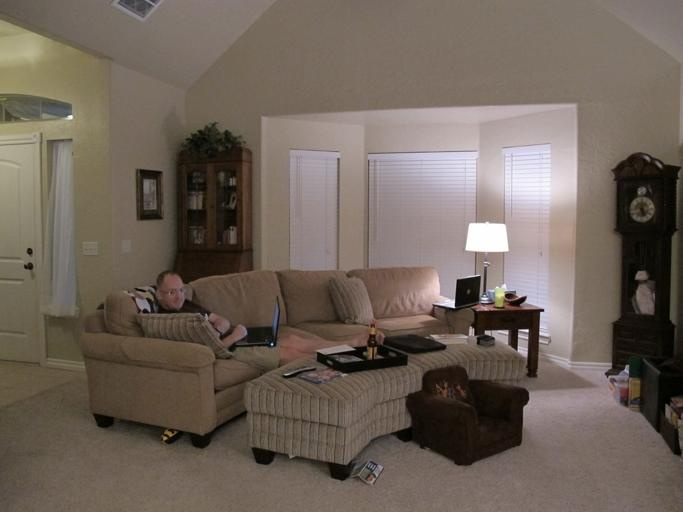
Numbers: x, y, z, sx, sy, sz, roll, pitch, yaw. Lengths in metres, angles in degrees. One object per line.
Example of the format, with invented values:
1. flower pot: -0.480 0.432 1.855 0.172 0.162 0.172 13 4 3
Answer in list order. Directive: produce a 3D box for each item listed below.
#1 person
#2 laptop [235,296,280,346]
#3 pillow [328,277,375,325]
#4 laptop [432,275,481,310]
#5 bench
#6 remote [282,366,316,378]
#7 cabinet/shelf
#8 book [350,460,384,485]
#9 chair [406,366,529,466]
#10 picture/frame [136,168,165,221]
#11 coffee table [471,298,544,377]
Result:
1. person: -1.041 0.530 4.591 1.030 0.335 0.789 16 12 -1
2. laptop: -0.745 0.580 4.673 0.249 0.333 0.423 5 6 -4
3. pillow: 0.092 0.449 5.447 0.422 0.485 0.142 -10 -19 -46
4. laptop: 1.246 0.377 5.680 0.437 0.366 0.332 -3 11 -29
5. bench: 0.262 1.145 4.103 1.940 0.612 0.610 -6 12 -29
6. remote: -0.331 0.858 3.950 0.175 0.034 0.084 -5 5 -40
7. cabinet/shelf: -1.500 -0.351 6.246 0.792 1.796 0.445 -1 -2 11
8. book: 0.173 1.500 3.753 0.199 0.080 0.195 6 12 28
9. chair: 0.981 1.199 4.149 0.862 0.597 0.665 -2 3 -44
10. picture/frame: -2.136 -0.671 5.878 0.077 0.616 0.560 1 4 20
11. coffee table: 1.698 0.835 5.743 0.718 0.741 0.741 0 -1 -1
